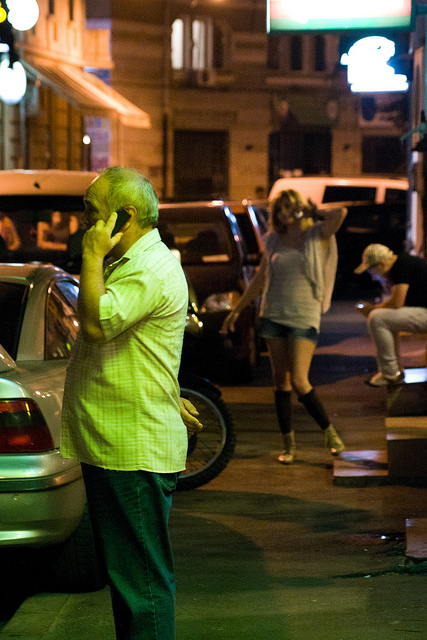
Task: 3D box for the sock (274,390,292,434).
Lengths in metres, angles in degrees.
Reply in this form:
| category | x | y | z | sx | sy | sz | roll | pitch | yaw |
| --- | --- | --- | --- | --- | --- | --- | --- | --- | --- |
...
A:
| category | x | y | z | sx | sy | sz | roll | pitch | yaw |
| --- | --- | --- | --- | --- | --- | --- | --- | --- | --- |
| sock | 0.536 | 0.705 | 5.971 | 0.121 | 0.331 | 0.098 | -1 | 2 | -3 |

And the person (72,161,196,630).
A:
| category | x | y | z | sx | sy | sz | roll | pitch | yaw |
| --- | --- | --- | --- | --- | --- | --- | --- | --- | --- |
| person | -0.216 | 0.196 | 1.863 | 0.255 | 1.142 | 0.334 | -1 | 2 | 14 |

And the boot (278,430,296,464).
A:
| category | x | y | z | sx | sy | sz | roll | pitch | yaw |
| --- | --- | --- | --- | --- | --- | --- | --- | --- | --- |
| boot | 0.567 | 0.960 | 6.035 | 0.136 | 0.234 | 0.324 | -1 | 2 | 5 |

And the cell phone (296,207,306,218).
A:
| category | x | y | z | sx | sy | sz | roll | pitch | yaw |
| --- | --- | --- | --- | --- | --- | --- | --- | --- | --- |
| cell phone | 0.657 | -0.791 | 5.839 | 0.074 | 0.059 | 0.116 | 8 | 7 | 8 |

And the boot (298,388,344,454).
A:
| category | x | y | z | sx | sy | sz | roll | pitch | yaw |
| --- | --- | --- | --- | --- | --- | --- | --- | --- | --- |
| boot | 0.807 | 0.757 | 5.861 | 0.388 | 0.380 | 0.799 | -1 | 4 | -10 |

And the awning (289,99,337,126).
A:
| category | x | y | z | sx | sy | sz | roll | pitch | yaw |
| --- | --- | --- | --- | --- | --- | --- | --- | --- | --- |
| awning | 4.748 | -10.136 | 38.347 | 1.677 | 0.907 | 0.205 | 2 | -13 | -15 |

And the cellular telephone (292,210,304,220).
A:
| category | x | y | z | sx | sy | sz | roll | pitch | yaw |
| --- | --- | --- | --- | --- | --- | --- | --- | --- | --- |
| cellular telephone | 0.634 | -0.781 | 5.845 | 0.084 | 0.066 | 0.042 | -1 | 2 | 6 |

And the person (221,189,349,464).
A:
| category | x | y | z | sx | sy | sz | roll | pitch | yaw |
| --- | --- | --- | --- | --- | --- | --- | --- | --- | --- |
| person | 0.622 | 0.058 | 5.946 | 0.810 | 2.047 | 0.506 | 0 | 2 | 20 |

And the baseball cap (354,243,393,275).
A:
| category | x | y | z | sx | sy | sz | roll | pitch | yaw |
| --- | --- | --- | --- | --- | --- | --- | --- | --- | --- |
| baseball cap | 1.184 | -0.439 | 5.776 | 0.277 | 0.140 | 0.174 | -25 | 24 | 12 |

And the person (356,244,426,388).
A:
| category | x | y | z | sx | sy | sz | roll | pitch | yaw |
| --- | --- | --- | --- | --- | --- | --- | --- | --- | --- |
| person | 1.289 | -0.033 | 5.664 | 0.489 | 1.055 | 0.772 | -1 | 2 | 8 |

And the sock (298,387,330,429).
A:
| category | x | y | z | sx | sy | sz | roll | pitch | yaw |
| --- | --- | --- | --- | --- | --- | --- | --- | --- | --- |
| sock | 0.753 | 0.672 | 5.881 | 0.258 | 0.310 | 0.116 | -2 | 2 | -34 |
